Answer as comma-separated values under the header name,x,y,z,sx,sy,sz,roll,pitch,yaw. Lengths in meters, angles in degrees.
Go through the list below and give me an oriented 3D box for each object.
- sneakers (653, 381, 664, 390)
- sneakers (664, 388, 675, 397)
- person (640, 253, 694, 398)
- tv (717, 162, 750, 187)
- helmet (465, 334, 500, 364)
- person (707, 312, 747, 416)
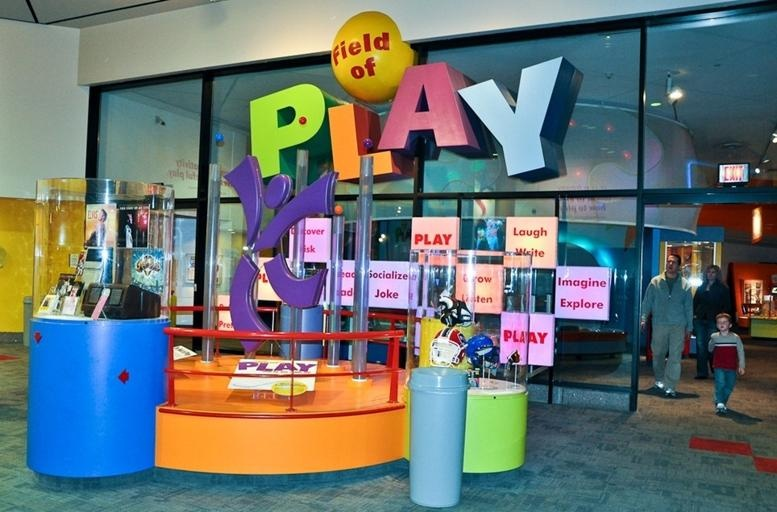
name,x,y,z,sx,sy,sz,roll,pitch,yaw
sneakers,4.185,2.007,9.645,0.068,0.085,0.199,2,-3,-35
sneakers,4.205,2.054,9.320,0.094,0.072,0.161,-1,-6,6
person,4.234,1.055,9.467,0.443,2.112,0.636,-3,8,-35
tv,4.478,-1.070,8.109,0.499,0.335,0.257,1,0,21
helmet,0.955,0.995,6.419,0.425,0.367,0.338,3,-4,-13
person,4.470,1.475,8.299,0.396,1.328,0.583,4,7,16
